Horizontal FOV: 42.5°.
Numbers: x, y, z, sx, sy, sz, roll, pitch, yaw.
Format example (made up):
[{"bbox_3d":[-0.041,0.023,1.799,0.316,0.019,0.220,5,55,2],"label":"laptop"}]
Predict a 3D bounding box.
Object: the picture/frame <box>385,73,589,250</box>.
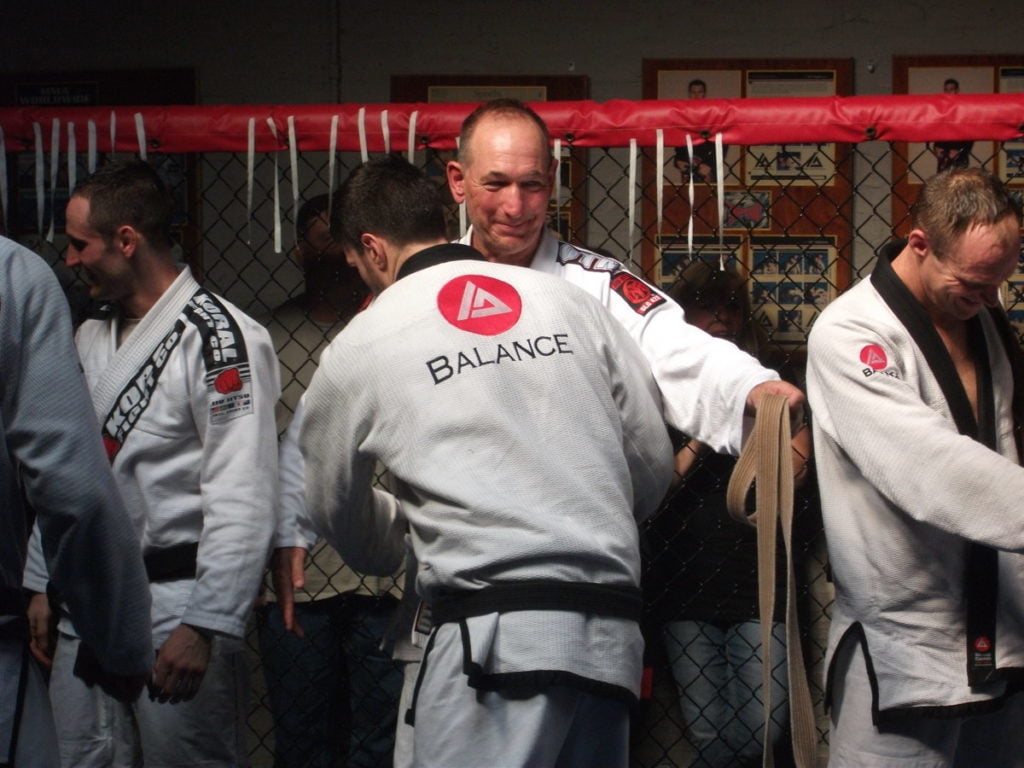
[{"bbox_3d":[-0.043,-0.917,5.350,0.865,0.787,0.085,-12,-2,-45],"label":"picture/frame"}]
